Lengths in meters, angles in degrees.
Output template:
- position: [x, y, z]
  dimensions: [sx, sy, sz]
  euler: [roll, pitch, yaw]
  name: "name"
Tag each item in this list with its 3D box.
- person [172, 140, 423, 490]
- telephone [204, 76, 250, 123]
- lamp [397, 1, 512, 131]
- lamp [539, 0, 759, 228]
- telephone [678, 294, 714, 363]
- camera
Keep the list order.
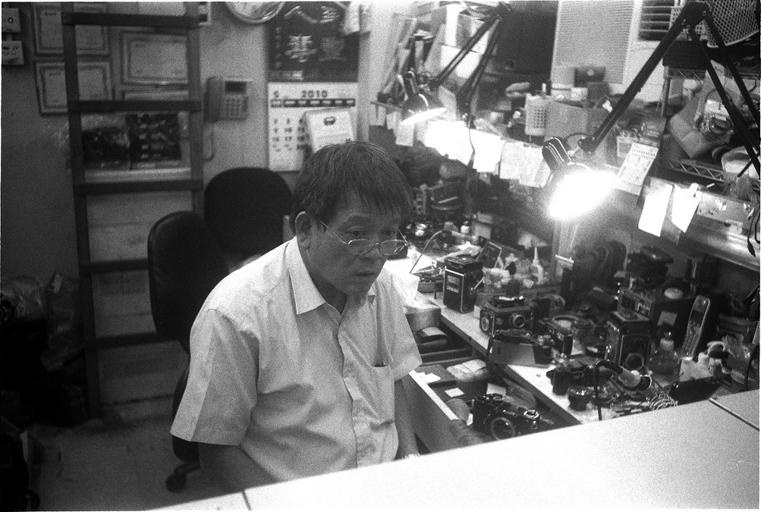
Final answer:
- position: [-0.179, 0.176, 1.789]
  dimensions: [1.004, 0.953, 0.545]
  euler: [-9, 16, -43]
  name: "person"
- position: [-1.036, -1.128, 4.080]
  dimensions: [0.216, 0.290, 0.296]
  euler: [3, 16, -13]
  name: "telephone"
- position: [0.370, -0.973, 2.957]
  dimensions: [0.506, 0.551, 0.690]
  euler: [0, 10, 4]
  name: "lamp"
- position: [0.893, -0.464, 1.790]
  dimensions: [0.660, 0.668, 0.393]
  euler: [-5, 11, -23]
  name: "lamp"
- position: [1.277, 0.294, 2.313]
  dimensions: [0.083, 0.309, 0.077]
  euler: [16, 1, 44]
  name: "telephone"
- position: [0.743, 0.410, 2.245]
  dimensions: [0.316, 0.126, 0.438]
  euler: [-6, 21, -24]
  name: "camera"
